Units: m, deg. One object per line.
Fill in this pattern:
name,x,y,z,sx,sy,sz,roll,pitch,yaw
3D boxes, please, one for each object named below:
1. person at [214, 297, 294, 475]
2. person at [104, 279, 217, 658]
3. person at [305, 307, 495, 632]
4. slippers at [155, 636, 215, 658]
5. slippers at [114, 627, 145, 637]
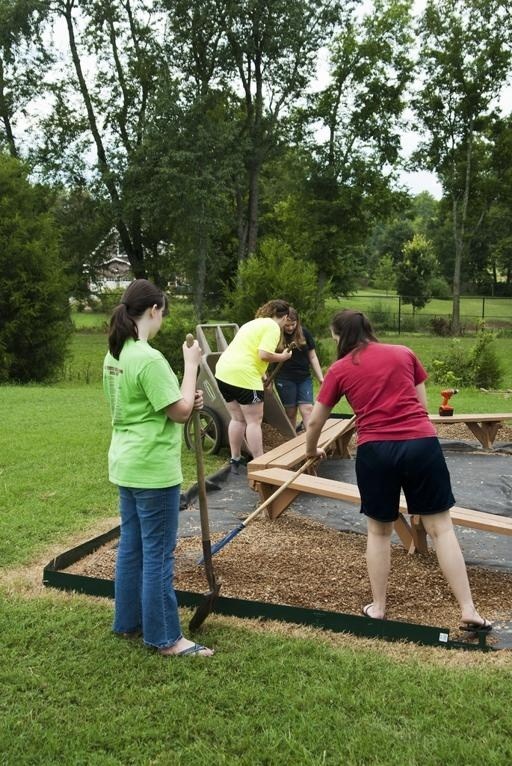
person,-0.038,0.014,6.648,0.655,1.510,0.789,1,3,0
person,-0.424,0.362,3.228,0.466,1.605,0.351,0,3,-11
person,0.686,0.412,3.556,0.894,1.529,0.458,1,3,7
slippers,-0.296,1.127,3.194,0.223,0.055,0.084,-1,4,-2
slippers,-0.575,1.122,3.374,0.094,0.021,0.055,-2,-1,8
